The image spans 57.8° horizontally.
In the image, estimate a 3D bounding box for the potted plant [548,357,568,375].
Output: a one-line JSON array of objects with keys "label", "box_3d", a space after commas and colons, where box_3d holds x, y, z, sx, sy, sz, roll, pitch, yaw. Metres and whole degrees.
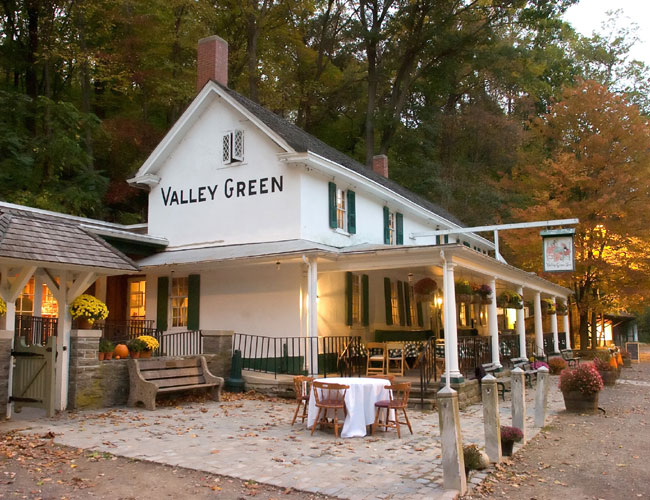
[{"label": "potted plant", "box_3d": [9.513, 4.778, 24.218, 0.784, 0.851, 0.799, -12, -10, 34]}]

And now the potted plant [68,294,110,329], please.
[{"label": "potted plant", "box_3d": [-5.986, 1.573, 14.794, 0.895, 0.884, 0.925, -2, -12, 31]}]

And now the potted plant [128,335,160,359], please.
[{"label": "potted plant", "box_3d": [-4.932, 2.646, 15.921, 0.716, 0.513, 0.380, 3, -2, -21]}]

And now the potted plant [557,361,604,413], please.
[{"label": "potted plant", "box_3d": [7.041, 3.831, 16.376, 1.125, 1.429, 1.200, -2, -9, 8]}]

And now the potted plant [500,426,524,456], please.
[{"label": "potted plant", "box_3d": [3.587, 3.679, 11.410, 0.488, 0.525, 0.485, 8, -12, -41]}]
